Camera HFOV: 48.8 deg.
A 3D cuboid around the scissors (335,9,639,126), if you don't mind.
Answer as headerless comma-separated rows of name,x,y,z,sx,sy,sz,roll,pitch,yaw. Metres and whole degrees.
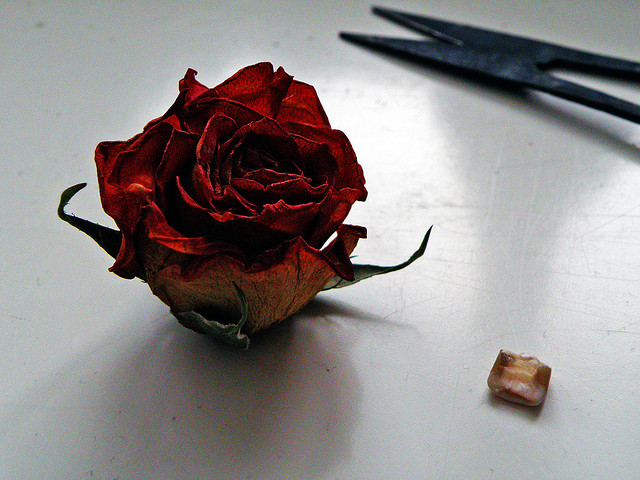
scissors,0.236,-0.334,1.484,0.771,0.030,0.224,16,48,17
